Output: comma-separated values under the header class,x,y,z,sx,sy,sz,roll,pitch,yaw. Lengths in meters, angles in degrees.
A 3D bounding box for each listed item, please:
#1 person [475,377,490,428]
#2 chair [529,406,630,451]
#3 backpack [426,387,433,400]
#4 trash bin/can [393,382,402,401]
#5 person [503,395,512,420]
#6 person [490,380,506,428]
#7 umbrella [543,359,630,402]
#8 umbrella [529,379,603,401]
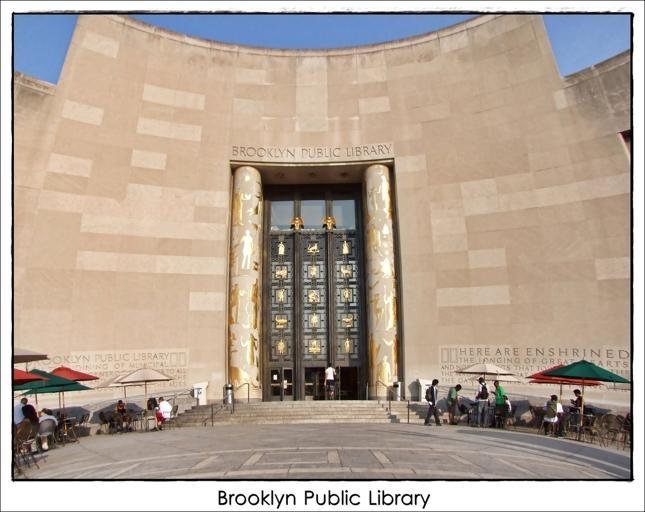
class,x,y,z,sx,sy,sz,roll,pitch,yaw
person,6.090,5.569,18.714,0.573,1.754,0.702,-7,-13,38
chair,8.875,5.537,15.856,1.915,1.018,2.209,6,-11,-25
backpack,3.756,4.845,17.089,0.168,0.519,0.394,4,-10,-16
trash bin/can,3.372,6.076,22.013,0.361,0.762,0.506,-1,-10,10
person,6.918,5.660,18.251,0.425,0.881,0.264,-2,9,-23
person,6.577,5.484,18.070,0.491,1.669,0.675,-1,-10,9
umbrella,8.552,3.821,15.573,2.045,0.840,2.033,17,-17,-20
umbrella,9.517,5.259,19.130,1.724,0.797,1.959,-3,-11,21
